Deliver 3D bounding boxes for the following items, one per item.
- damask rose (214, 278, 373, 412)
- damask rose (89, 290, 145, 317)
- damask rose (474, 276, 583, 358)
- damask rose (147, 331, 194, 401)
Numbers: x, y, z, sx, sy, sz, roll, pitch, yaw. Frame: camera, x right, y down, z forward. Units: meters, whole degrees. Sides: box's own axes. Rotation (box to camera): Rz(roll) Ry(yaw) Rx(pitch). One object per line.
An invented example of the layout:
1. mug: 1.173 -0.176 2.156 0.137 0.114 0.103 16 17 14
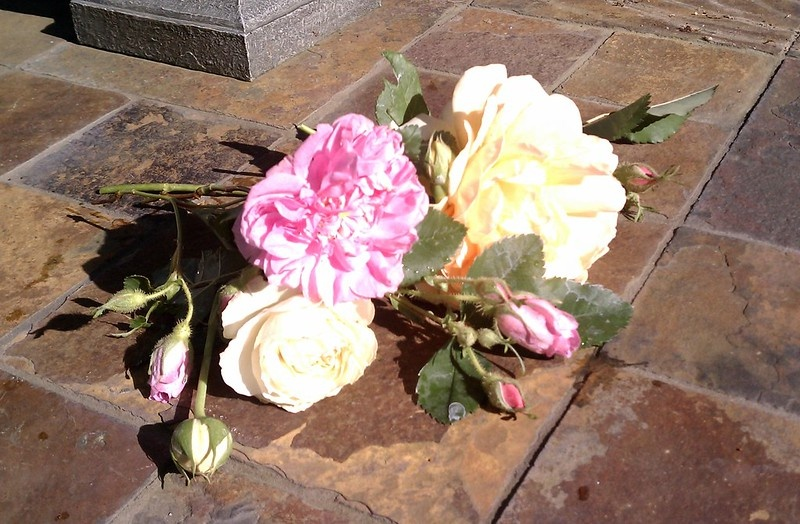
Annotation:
1. damask rose: -0.253 0.196 1.328 0.291 0.110 0.275 5 38 -36
2. damask rose: -0.594 0.086 1.393 0.126 0.044 0.056 -20 13 -28
3. damask rose: 0.253 0.114 1.317 0.244 0.107 0.116 27 59 17
4. damask rose: -0.472 0.222 1.389 0.103 0.086 0.144 16 75 -11
